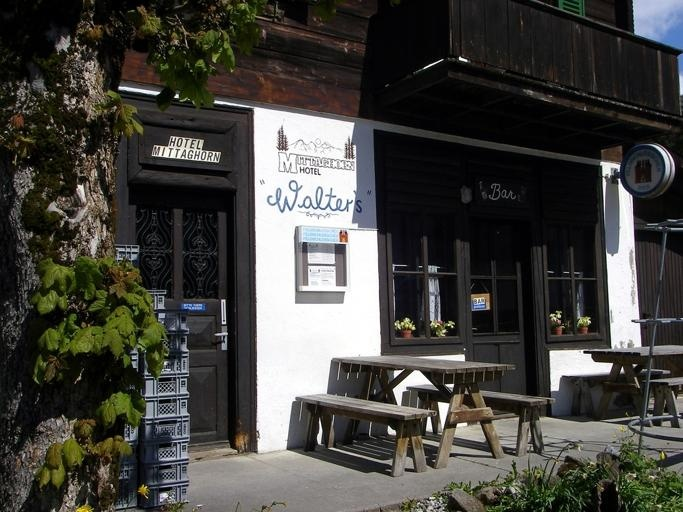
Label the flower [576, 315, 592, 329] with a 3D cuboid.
[{"bbox_3d":[3.801,1.029,10.454,0.166,0.147,0.188,1,-8,10],"label":"flower"}]

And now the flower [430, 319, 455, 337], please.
[{"bbox_3d":[1.373,0.971,9.078,0.222,0.182,0.252,5,4,-29],"label":"flower"}]

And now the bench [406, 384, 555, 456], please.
[{"bbox_3d":[1.787,1.793,7.747,0.323,0.478,1.220,15,-6,-33],"label":"bench"}]

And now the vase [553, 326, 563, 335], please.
[{"bbox_3d":[3.316,1.132,10.194,0.112,0.104,0.126,2,-10,0],"label":"vase"}]

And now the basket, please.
[{"bbox_3d":[-1.580,1.200,5.715,0.565,1.829,0.404,2,-6,-18],"label":"basket"}]

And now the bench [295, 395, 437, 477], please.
[{"bbox_3d":[0.198,1.875,7.094,0.440,0.676,1.517,-2,-1,-44],"label":"bench"}]

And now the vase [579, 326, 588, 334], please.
[{"bbox_3d":[3.799,1.146,10.436,0.220,0.115,0.068,6,-9,-39],"label":"vase"}]
